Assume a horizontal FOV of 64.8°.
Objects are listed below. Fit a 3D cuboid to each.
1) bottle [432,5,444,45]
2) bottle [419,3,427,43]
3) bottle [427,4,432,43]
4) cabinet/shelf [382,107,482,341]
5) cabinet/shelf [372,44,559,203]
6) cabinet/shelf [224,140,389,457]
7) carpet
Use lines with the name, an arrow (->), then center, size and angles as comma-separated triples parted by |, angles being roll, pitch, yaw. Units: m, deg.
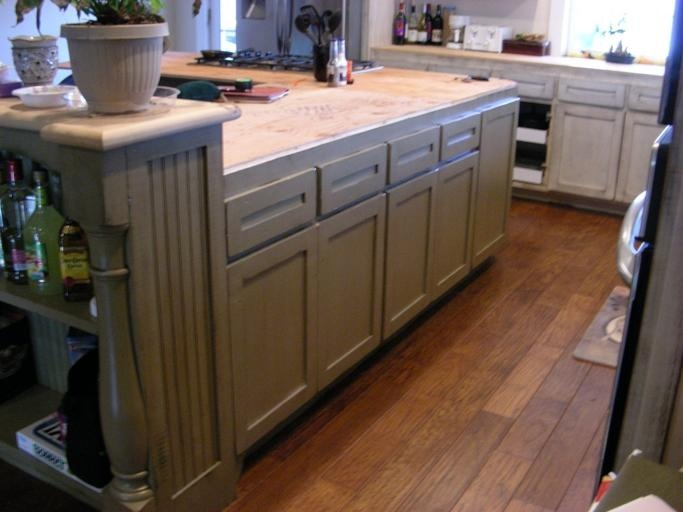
bottle -> 0.895, -2.142, 5.001 | 0.111, 0.337, 0.151 | 3, 24, 8
bottle -> 0.750, -2.105, 4.983 | 0.089, 0.255, 0.092 | -1, 24, 0
bottle -> 0.823, -2.181, 5.056 | 0.070, 0.336, 0.189 | 3, 24, 9
cabinet/shelf -> 0.409, -0.158, 2.500 | 0.416, 0.839, 0.804 | 13, 31, 30
cabinet/shelf -> 1.226, -1.064, 4.959 | 1.948, 1.486, 1.083 | 13, 28, 28
cabinet/shelf -> -0.133, 0.143, 1.853 | 0.437, 0.922, 0.772 | 14, 30, 31
carpet -> 1.175, 0.333, 2.455 | 0.140, 0.021, 0.445 | 15, 36, 28
